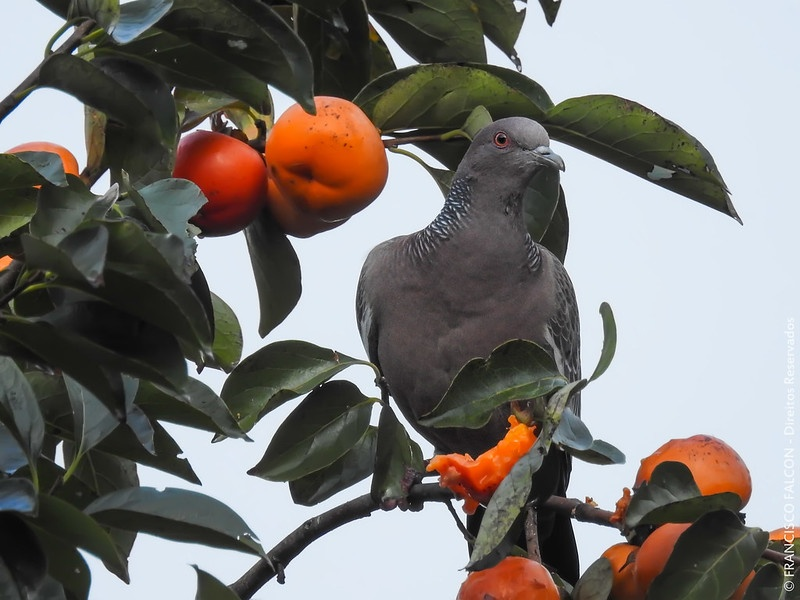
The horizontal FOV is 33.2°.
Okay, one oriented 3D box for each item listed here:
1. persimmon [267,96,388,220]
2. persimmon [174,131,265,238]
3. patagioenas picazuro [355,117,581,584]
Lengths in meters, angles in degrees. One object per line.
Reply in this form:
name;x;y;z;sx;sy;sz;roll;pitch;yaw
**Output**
persimmon;-0.131;-0.254;2.417;0.227;0.207;0.103;30;-20;-11
persimmon;-0.313;-0.211;2.378;0.130;0.212;0.185;4;15;30
patagioenas picazuro;0.081;0.028;3.111;0.431;1.064;0.967;3;16;-11
